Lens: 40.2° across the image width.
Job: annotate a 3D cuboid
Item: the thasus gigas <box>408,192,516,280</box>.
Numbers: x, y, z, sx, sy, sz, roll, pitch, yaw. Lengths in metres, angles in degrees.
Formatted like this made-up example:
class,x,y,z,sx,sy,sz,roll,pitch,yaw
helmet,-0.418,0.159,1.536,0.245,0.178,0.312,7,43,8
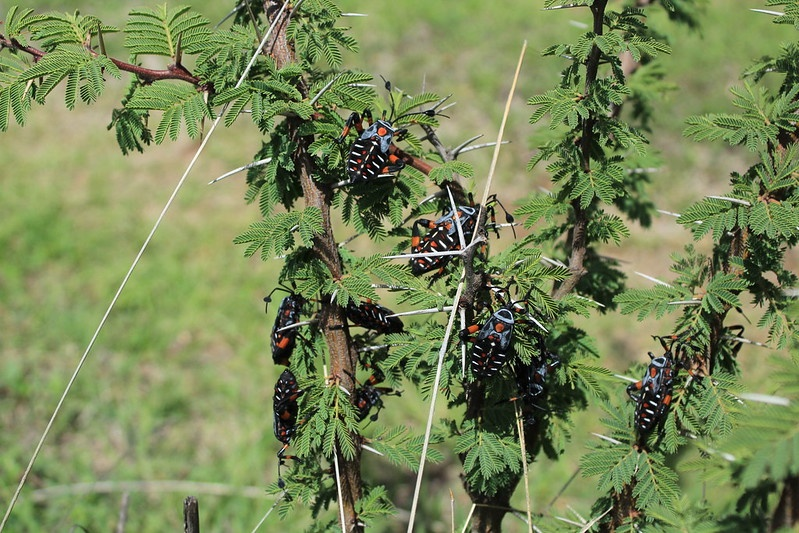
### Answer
class,x,y,z,sx,sy,sz,roll,pitch,yaw
thasus gigas,0.524,-0.387,11.473,1.042,0.787,0.346,-42,-21,0
